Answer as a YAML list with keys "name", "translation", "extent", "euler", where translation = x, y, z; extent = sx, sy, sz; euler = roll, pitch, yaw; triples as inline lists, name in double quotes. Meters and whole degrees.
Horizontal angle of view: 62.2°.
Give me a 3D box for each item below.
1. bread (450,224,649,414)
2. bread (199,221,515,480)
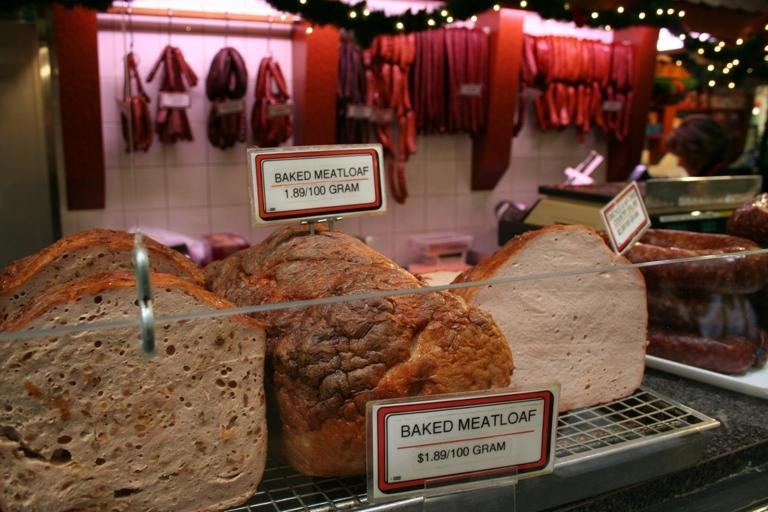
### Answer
- name: "bread"
  translation: [0.405, 0.167, 1.496]
  extent: [0.372, 0.411, 0.144]
  euler: [-12, 2, 7]
- name: "bread"
  translation: [-0.057, 0.218, 1.403]
  extent: [0.403, 0.260, 0.696]
  euler: [-10, 22, -29]
